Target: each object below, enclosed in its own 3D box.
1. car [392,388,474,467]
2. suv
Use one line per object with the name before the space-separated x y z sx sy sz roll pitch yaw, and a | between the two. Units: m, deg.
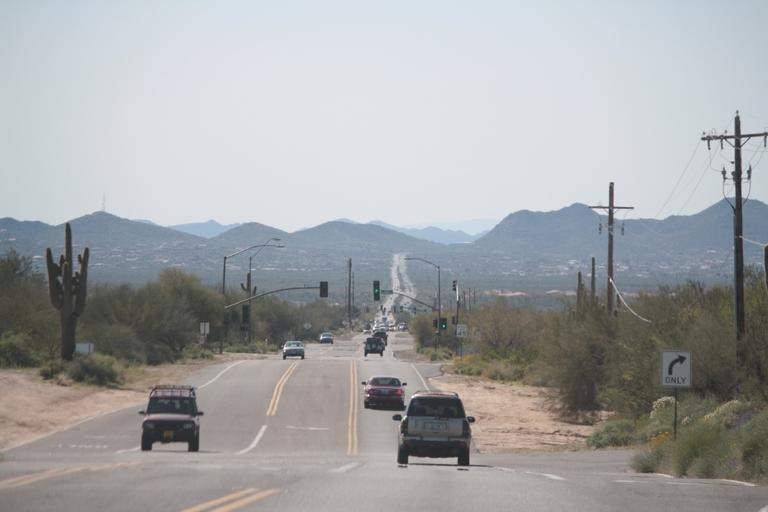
car | 2.458 8.208 59.232 3.176 2.899 6.592 0 -3 4
suv | -10.967 8.514 62.782 3.062 3.440 5.626 1 -7 -6
